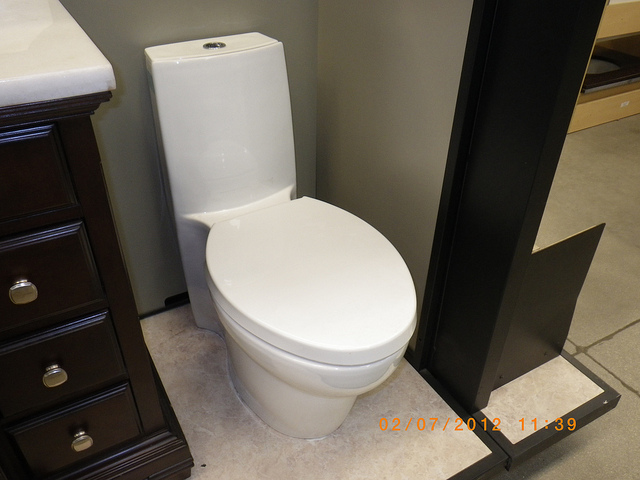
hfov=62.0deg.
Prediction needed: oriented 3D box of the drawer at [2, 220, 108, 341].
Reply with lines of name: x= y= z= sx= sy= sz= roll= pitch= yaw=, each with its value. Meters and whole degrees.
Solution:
drawer: x=-0.511 y=0.069 z=1.012 sx=0.158 sy=0.164 sz=0.084 roll=-20 pitch=34 yaw=-27

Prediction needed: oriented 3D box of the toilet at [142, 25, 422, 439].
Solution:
toilet: x=-0.102 y=0.027 z=1.376 sx=0.451 sy=0.932 sz=0.816 roll=-19 pitch=36 yaw=-27

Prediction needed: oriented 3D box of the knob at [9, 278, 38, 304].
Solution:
knob: x=-0.556 y=0.095 z=0.993 sx=0.033 sy=0.046 sz=0.026 roll=-15 pitch=70 yaw=-18

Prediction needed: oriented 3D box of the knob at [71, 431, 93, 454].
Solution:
knob: x=-0.525 y=0.443 z=1.171 sx=0.039 sy=0.056 sz=0.029 roll=-15 pitch=48 yaw=-34

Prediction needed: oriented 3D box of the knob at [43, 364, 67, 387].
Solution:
knob: x=-0.536 y=0.273 z=1.074 sx=0.032 sy=0.045 sz=0.025 roll=-19 pitch=69 yaw=-26
